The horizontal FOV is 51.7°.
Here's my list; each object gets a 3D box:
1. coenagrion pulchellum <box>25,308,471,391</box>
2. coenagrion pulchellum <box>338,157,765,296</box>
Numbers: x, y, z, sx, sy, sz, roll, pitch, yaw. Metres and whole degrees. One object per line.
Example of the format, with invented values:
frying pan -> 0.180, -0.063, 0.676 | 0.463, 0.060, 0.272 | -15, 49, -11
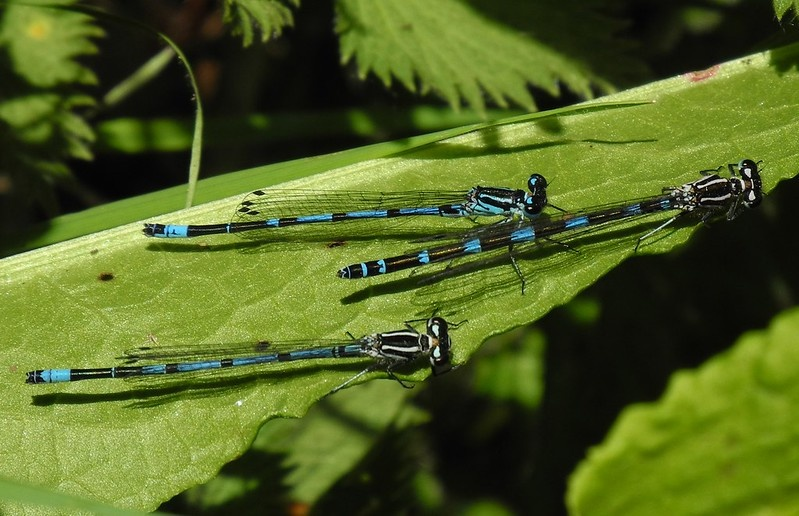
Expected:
coenagrion pulchellum -> -1.365, 1.235, 9.543 | 4.377, 1.133, 0.467 | -13, 27, 2
coenagrion pulchellum -> 2.206, -0.305, 9.945 | 4.651, 0.618, 0.607 | -14, 27, 0
